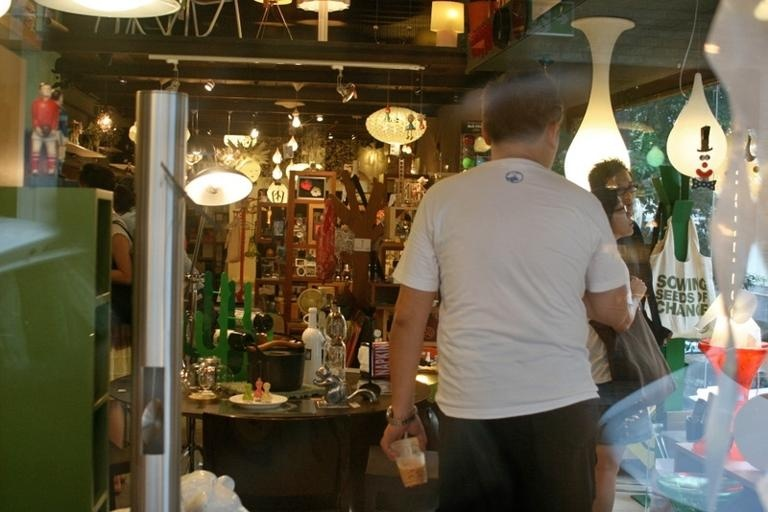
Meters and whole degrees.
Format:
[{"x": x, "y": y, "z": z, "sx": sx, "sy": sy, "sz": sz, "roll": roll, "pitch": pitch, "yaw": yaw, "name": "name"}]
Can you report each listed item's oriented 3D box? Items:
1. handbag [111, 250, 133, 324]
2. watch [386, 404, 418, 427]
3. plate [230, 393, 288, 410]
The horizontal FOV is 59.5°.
[{"x": -0.625, "y": 0.105, "z": 1.592, "sx": 0.037, "sy": 0.108, "sz": 0.420, "roll": -1, "pitch": -2, "yaw": -22, "name": "handbag"}, {"x": 0.053, "y": 0.521, "z": 2.163, "sx": 0.083, "sy": 0.033, "sz": 0.074, "roll": -3, "pitch": 2, "yaw": -17, "name": "watch"}, {"x": -0.521, "y": 0.596, "z": 2.766, "sx": 0.239, "sy": 0.057, "sz": 0.104, "roll": -1, "pitch": -2, "yaw": -5, "name": "plate"}]
